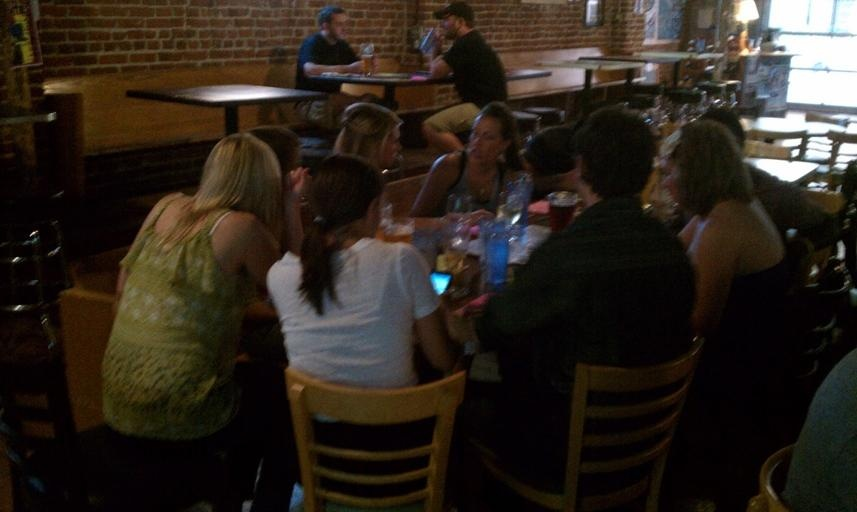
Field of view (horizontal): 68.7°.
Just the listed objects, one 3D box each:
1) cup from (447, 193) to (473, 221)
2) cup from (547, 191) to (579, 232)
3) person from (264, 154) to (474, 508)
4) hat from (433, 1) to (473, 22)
[{"bbox_3d":[0.168,-0.251,3.187,0.137,0.121,0.132,1,9,0],"label":"cup"},{"bbox_3d":[0.609,-0.213,2.957,0.183,0.186,0.179,1,11,0],"label":"cup"},{"bbox_3d":[-0.232,0.281,2.295,0.687,1.267,0.452,-3,12,-11],"label":"person"},{"bbox_3d":[0.270,-2.290,5.989,0.393,0.188,0.241,6,25,6],"label":"hat"}]
